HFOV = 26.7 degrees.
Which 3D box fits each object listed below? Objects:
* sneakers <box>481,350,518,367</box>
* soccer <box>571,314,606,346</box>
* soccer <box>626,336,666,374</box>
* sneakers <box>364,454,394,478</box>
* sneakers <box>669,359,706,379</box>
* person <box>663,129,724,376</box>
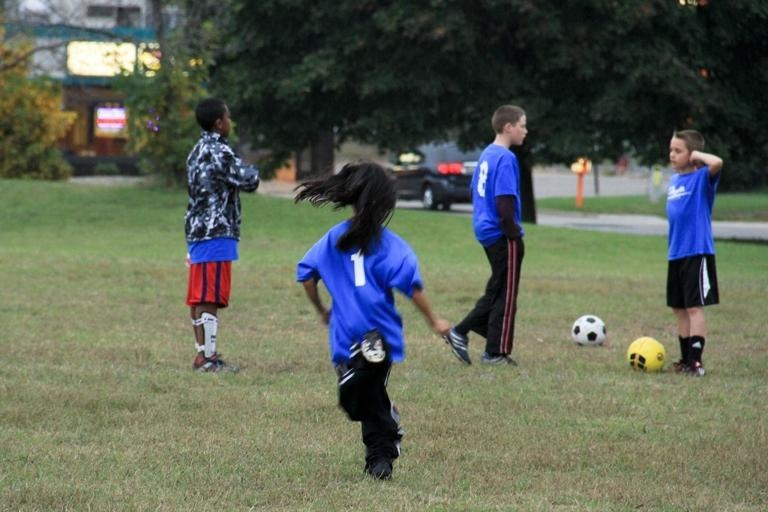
[{"bbox_3d":[1.787,1.635,25.224,0.591,0.256,0.209,2,-1,0],"label":"sneakers"},{"bbox_3d":[3.315,1.211,26.167,0.480,0.487,0.485,-2,-2,5],"label":"soccer"},{"bbox_3d":[4.082,1.543,25.251,0.497,0.524,0.632,13,29,27],"label":"soccer"},{"bbox_3d":[-0.062,3.009,22.648,0.330,0.253,0.257,-5,-2,-3],"label":"sneakers"},{"bbox_3d":[4.652,1.767,24.919,0.529,0.242,0.199,8,2,36],"label":"sneakers"},{"bbox_3d":[4.753,-0.069,24.993,0.776,3.790,0.620,1,3,4],"label":"person"}]
